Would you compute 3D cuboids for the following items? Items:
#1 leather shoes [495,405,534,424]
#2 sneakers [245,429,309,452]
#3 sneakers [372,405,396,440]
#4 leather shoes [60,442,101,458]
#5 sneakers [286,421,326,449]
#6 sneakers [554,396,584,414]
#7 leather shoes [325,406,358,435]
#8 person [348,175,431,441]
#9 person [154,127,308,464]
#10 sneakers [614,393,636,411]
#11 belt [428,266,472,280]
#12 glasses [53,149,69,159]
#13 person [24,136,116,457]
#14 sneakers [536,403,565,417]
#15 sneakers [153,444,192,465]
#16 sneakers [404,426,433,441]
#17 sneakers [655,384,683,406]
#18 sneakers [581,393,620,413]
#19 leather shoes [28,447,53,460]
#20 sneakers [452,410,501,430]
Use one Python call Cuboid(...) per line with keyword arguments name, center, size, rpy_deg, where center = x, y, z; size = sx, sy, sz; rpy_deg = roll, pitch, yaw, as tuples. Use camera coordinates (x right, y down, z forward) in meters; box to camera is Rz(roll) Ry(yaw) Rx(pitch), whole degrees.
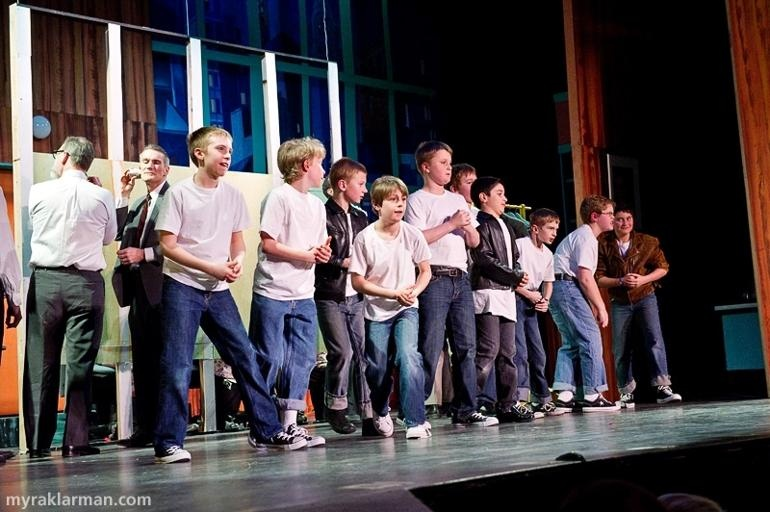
Cuboid(name="leather shoes", center=(0.997, 1.224, 5.900), size=(0.267, 0.125, 0.115), rpy_deg=(-2, 1, 5))
Cuboid(name="sneakers", center=(-0.676, 1.133, 4.729), size=(0.378, 0.154, 0.139), rpy_deg=(-1, -2, 3))
Cuboid(name="sneakers", center=(-0.023, 1.163, 5.334), size=(0.098, 0.096, 0.227), rpy_deg=(-3, 7, -10))
Cuboid(name="leather shoes", center=(-2.077, 1.321, 5.186), size=(0.298, 0.128, 0.098), rpy_deg=(3, -4, -32))
Cuboid(name="sneakers", center=(-0.517, 1.136, 4.808), size=(0.275, 0.113, 0.106), rpy_deg=(-5, -2, 40))
Cuboid(name="sneakers", center=(1.594, 1.293, 6.618), size=(0.354, 0.137, 0.124), rpy_deg=(5, -5, -41))
Cuboid(name="leather shoes", center=(-0.373, 1.218, 5.689), size=(0.313, 0.232, 0.115), rpy_deg=(-2, -3, 29))
Cuboid(name="person", center=(0.061, 0.340, 5.168), size=(0.529, 1.737, 0.462), rpy_deg=(-6, -9, 2))
Cuboid(name="person", center=(-1.031, 0.204, 4.558), size=(0.740, 1.955, 0.384), rpy_deg=(-2, -9, -19))
Cuboid(name="sneakers", center=(2.134, 1.297, 6.793), size=(0.114, 0.141, 0.354), rpy_deg=(-8, -16, 31))
Cuboid(name="belt", center=(0.448, 0.115, 5.402), size=(0.290, 0.092, 0.046), rpy_deg=(-1, -10, -30))
Cuboid(name="glasses", center=(-2.330, -0.729, 5.486), size=(0.122, 0.037, 0.127), rpy_deg=(2, 3, 3))
Cuboid(name="person", center=(-2.202, 0.263, 5.331), size=(0.637, 2.205, 0.314), rpy_deg=(-2, -9, -20))
Cuboid(name="sneakers", center=(1.351, 1.298, 6.434), size=(0.270, 0.110, 0.102), rpy_deg=(-6, -6, 22))
Cuboid(name="sneakers", center=(-1.224, 1.148, 4.387), size=(0.198, 0.081, 0.093), rpy_deg=(-6, -12, 23))
Cuboid(name="sneakers", center=(0.217, 1.126, 4.896), size=(0.178, 0.082, 0.179), rpy_deg=(-3, -9, -15))
Cuboid(name="sneakers", center=(2.502, 1.230, 6.810), size=(0.193, 0.155, 0.267), rpy_deg=(-8, -9, 17))
Cuboid(name="sneakers", center=(1.834, 1.245, 6.492), size=(0.407, 0.188, 0.137), rpy_deg=(0, -4, -10))
Cuboid(name="leather shoes", center=(-2.286, 1.310, 5.062), size=(0.143, 0.062, 0.408), rpy_deg=(-2, -10, -25))
Cuboid(name="sneakers", center=(0.654, 1.187, 5.551), size=(0.335, 0.138, 0.128), rpy_deg=(-2, -2, 3))
